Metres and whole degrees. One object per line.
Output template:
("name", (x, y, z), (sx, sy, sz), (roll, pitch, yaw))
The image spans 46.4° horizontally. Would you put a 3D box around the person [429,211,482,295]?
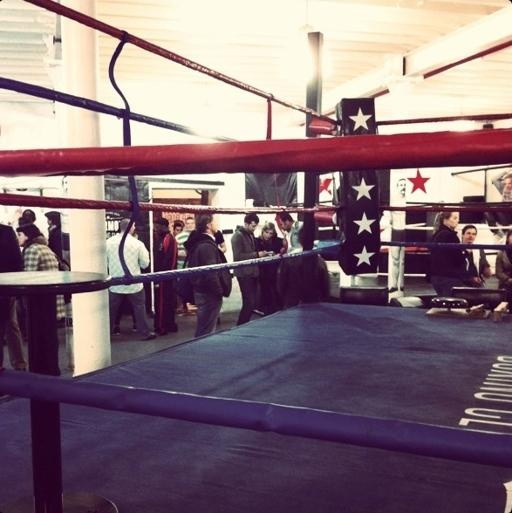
("person", (1.706, 0.014, 5.140), (0.426, 0.798, 0.730), (2, 9, 19))
